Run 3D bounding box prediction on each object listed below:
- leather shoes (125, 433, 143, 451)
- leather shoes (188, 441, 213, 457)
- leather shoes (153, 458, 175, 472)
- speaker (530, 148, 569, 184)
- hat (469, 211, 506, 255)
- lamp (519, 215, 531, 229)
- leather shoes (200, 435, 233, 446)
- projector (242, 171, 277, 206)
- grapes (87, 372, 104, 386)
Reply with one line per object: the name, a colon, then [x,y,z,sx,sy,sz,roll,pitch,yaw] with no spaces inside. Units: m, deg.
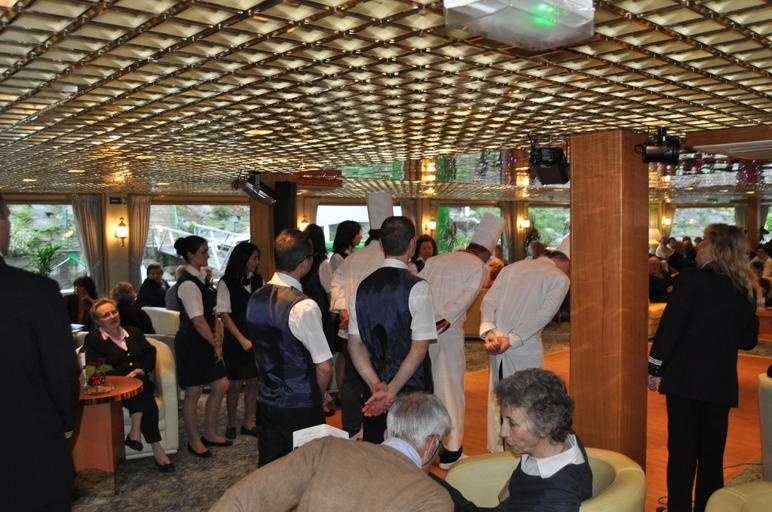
leather shoes: [-2.285,1.705,4.959,0.197,0.106,0.103,1,-2,18]
leather shoes: [-1.757,1.827,5.163,0.304,0.079,0.102,0,-1,34]
leather shoes: [-1.987,1.875,4.873,0.229,0.086,0.125,-2,4,9]
speaker: [1.625,-0.905,5.437,0.324,0.346,0.274,0,6,29]
hat: [0.910,-0.199,4.821,0.250,0.356,0.320,2,7,45]
lamp: [4.536,-1.095,17.915,0.448,0.391,0.408,4,9,5]
leather shoes: [-1.650,1.819,5.328,0.304,0.098,0.101,0,-3,-6]
projector: [-1.786,-0.946,7.591,0.386,0.440,0.460,-4,5,-14]
grapes: [-2.377,1.020,4.473,0.112,0.088,0.102,0,-13,6]
